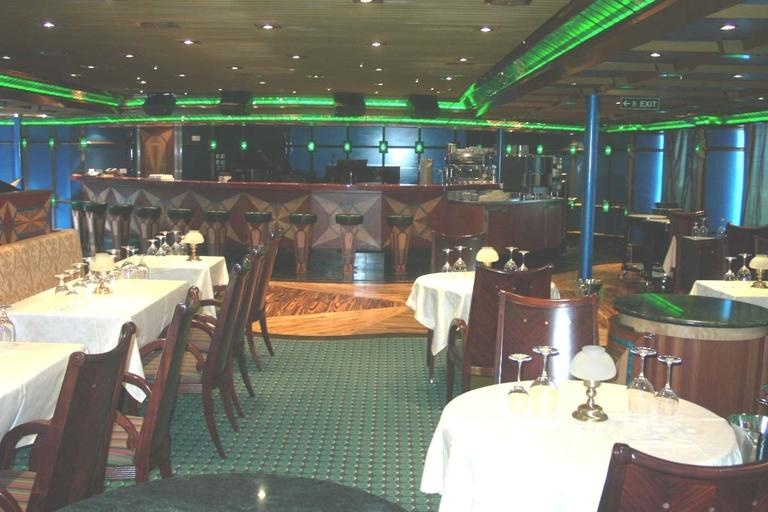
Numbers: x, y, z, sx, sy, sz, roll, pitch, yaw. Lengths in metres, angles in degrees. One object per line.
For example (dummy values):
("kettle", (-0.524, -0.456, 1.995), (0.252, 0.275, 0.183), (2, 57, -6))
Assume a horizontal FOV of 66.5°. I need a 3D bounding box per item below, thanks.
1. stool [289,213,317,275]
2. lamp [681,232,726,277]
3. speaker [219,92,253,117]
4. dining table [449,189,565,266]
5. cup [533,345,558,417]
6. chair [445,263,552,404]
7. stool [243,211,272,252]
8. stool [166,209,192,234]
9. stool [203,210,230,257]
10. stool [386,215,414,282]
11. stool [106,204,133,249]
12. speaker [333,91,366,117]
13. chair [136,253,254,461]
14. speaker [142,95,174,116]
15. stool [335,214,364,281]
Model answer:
("stool", (-1.530, -0.250, 11.020), (0.475, 1.077, 0.836), (2, 11, 5))
("lamp", (3.791, -0.033, 6.941), (0.431, 0.688, 0.498), (7, 18, 31))
("speaker", (-3.264, -3.385, 12.901), (0.680, 0.548, 0.414), (-2, 11, -15))
("dining table", (2.765, -0.614, 12.250), (3.421, 1.528, 1.394), (-9, 15, -43))
("cup", (0.805, 0.618, 2.873), (0.155, 0.323, 0.152), (0, -4, 0))
("chair", (0.841, 0.493, 4.292), (0.662, 1.087, 0.717), (-4, -24, 30))
("stool", (-2.367, -0.450, 11.355), (0.586, 0.636, 0.557), (6, 0, -38))
("stool", (-3.981, -0.669, 11.458), (0.435, 0.503, 0.470), (-3, 12, -21))
("stool", (-3.229, -0.432, 11.423), (0.459, 0.907, 0.576), (-2, 12, -14))
("stool", (0.293, -0.211, 11.012), (0.447, 1.130, 0.772), (1, 11, 1))
("stool", (-4.984, -0.569, 11.133), (0.395, 0.850, 1.111), (-4, 12, -25))
("speaker", (-0.719, -3.306, 12.760), (0.568, 0.557, 0.246), (-3, -6, -3))
("chair", (-1.488, 0.817, 4.526), (0.831, 1.237, 0.765), (5, 4, 3))
("speaker", (-5.051, -3.406, 13.181), (0.594, 0.426, 0.574), (1, 5, 8))
("stool", (-0.624, -0.204, 10.802), (0.473, 1.120, 0.711), (-2, 11, -12))
